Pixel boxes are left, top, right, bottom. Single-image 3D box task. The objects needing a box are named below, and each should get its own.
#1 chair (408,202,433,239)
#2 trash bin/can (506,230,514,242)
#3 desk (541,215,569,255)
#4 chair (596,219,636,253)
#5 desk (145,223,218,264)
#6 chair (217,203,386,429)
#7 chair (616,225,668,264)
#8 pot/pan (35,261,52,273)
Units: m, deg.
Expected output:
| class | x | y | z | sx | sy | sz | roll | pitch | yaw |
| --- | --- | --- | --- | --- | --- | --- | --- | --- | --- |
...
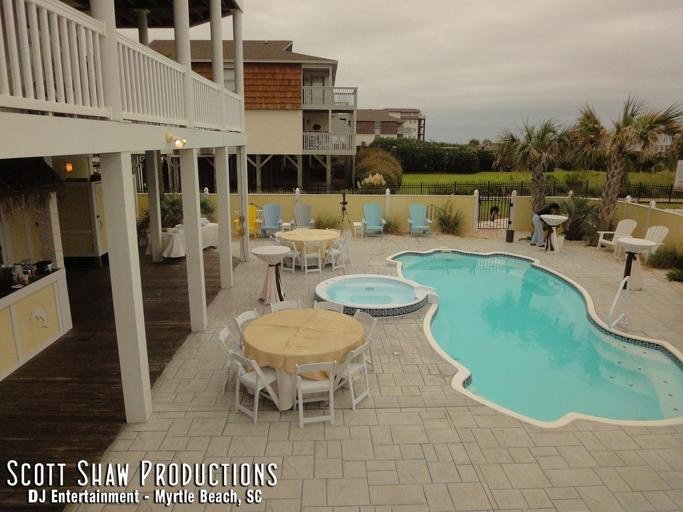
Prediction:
| class | x | y | z | sx | sy | sz | roll | pitch | yaw |
| --- | --- | --- | --- | --- | --- | --- | --- | --- | --- |
| chair | 3.265 | -1.437 | 18.606 | 1.043 | 1.434 | 1.065 | -4 | 8 | -17 |
| trash bin/can | 6.732 | -0.791 | 17.668 | 0.301 | 0.530 | 0.267 | -1 | 13 | 0 |
| desk | 7.630 | -0.821 | 16.261 | 1.211 | 1.426 | 1.255 | -2 | 8 | 1 |
| chair | 9.422 | -0.667 | 15.247 | 1.233 | 1.189 | 0.901 | -16 | 20 | -6 |
| desk | -4.914 | -0.478 | 14.707 | 1.231 | 0.639 | 2.059 | 6 | 12 | 22 |
| chair | -0.859 | 1.601 | 8.037 | 2.194 | 1.202 | 3.492 | -3 | 12 | -11 |
| chair | 9.315 | -0.329 | 13.720 | 1.582 | 1.061 | 1.019 | -10 | 12 | -27 |
| pot/pan | -5.622 | 0.212 | 8.404 | 0.244 | 0.188 | 0.232 | -5 | 15 | -23 |
